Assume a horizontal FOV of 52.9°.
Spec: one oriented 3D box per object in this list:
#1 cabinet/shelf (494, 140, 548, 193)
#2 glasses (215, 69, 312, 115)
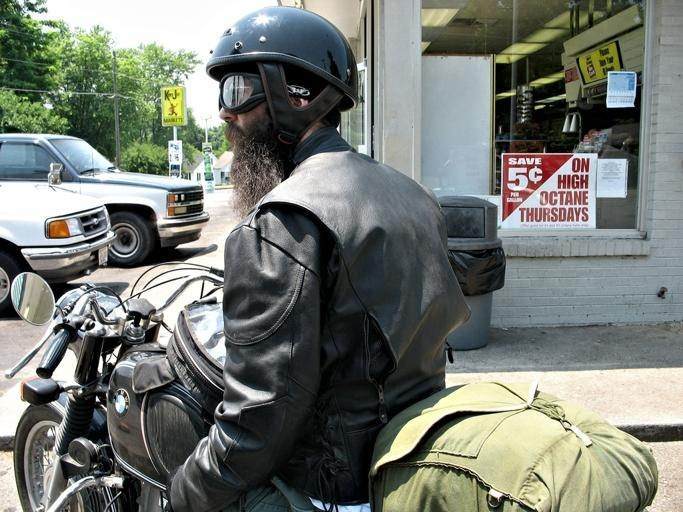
[{"bbox_3d":[1.986,-1.033,7.684,0.539,0.628,0.321,1,9,9],"label":"cabinet/shelf"},{"bbox_3d":[-0.334,-0.672,2.798,0.250,0.116,0.200,-5,13,-7],"label":"glasses"}]
